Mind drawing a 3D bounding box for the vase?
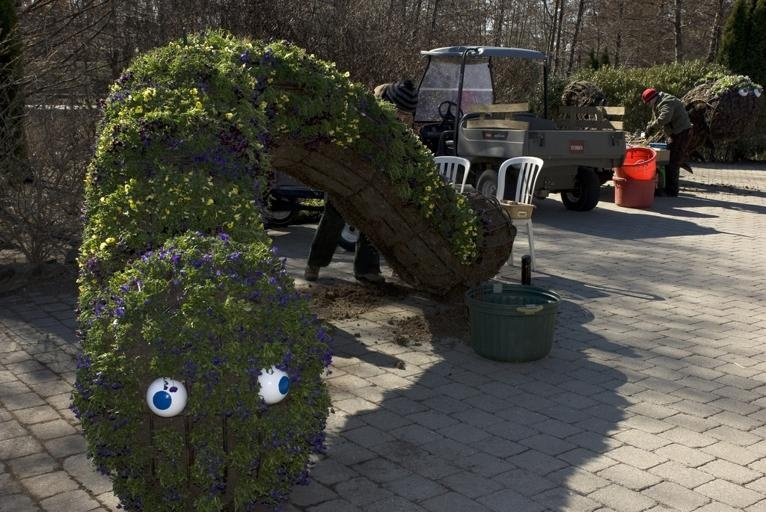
[{"bbox_3d":[1.190,0.599,7.016,0.885,0.467,0.791,4,10,15],"label":"vase"}]

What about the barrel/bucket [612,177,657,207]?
[{"bbox_3d":[4.755,-1.195,14.427,0.775,0.448,0.635,-3,6,-24],"label":"barrel/bucket"}]

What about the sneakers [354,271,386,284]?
[{"bbox_3d":[-0.164,0.256,9.020,0.323,0.113,0.150,-1,2,23],"label":"sneakers"}]

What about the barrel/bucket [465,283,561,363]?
[{"bbox_3d":[1.154,0.598,7.008,0.897,0.466,0.789,0,8,-7],"label":"barrel/bucket"}]

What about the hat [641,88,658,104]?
[{"bbox_3d":[5.309,-3.208,15.029,0.263,0.268,0.551,4,12,20],"label":"hat"}]

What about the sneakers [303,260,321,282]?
[{"bbox_3d":[-0.864,0.194,9.089,0.163,0.227,0.263,5,0,-13],"label":"sneakers"}]
